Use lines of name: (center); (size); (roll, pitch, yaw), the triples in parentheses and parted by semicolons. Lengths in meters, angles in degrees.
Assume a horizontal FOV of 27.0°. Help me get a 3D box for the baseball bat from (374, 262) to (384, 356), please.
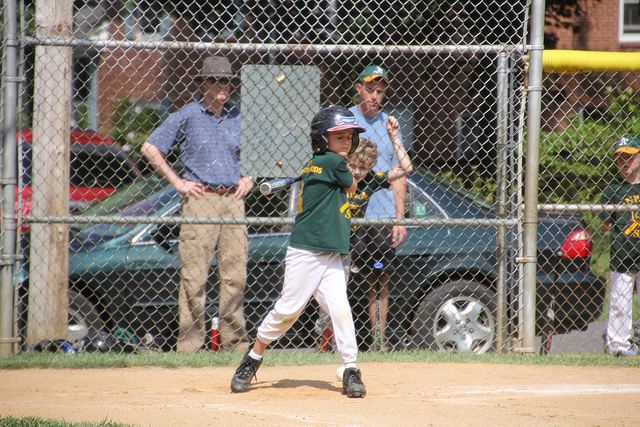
baseball bat: (0.712, 1.117, 16.180); (0.114, 1.063, 0.095); (-2, 1, -26)

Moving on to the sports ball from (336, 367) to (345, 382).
sports ball: (0.221, 1.790, 14.946); (0.121, 0.135, 0.116); (3, -2, 0)

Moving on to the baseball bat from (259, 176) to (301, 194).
baseball bat: (-0.461, -0.341, 15.461); (0.436, 0.093, 0.088); (-19, -3, -36)
